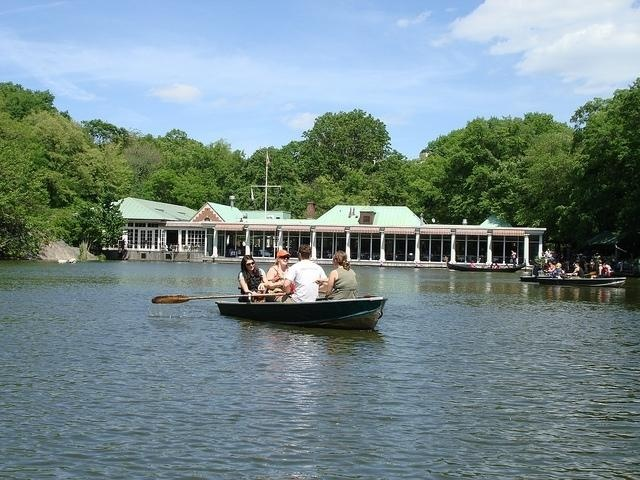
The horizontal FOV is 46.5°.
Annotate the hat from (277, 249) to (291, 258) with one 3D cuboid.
[{"bbox_3d":[-1.124,0.355,22.300,0.317,0.200,0.388,2,-19,-23],"label":"hat"}]

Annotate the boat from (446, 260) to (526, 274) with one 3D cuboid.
[{"bbox_3d":[15.689,2.500,69.252,7.175,0.848,1.293,1,1,-6],"label":"boat"}]

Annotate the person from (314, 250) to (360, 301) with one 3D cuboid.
[{"bbox_3d":[0.593,1.025,21.460,0.866,1.402,1.236,1,2,0],"label":"person"}]

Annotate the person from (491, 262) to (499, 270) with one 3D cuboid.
[{"bbox_3d":[16.120,2.433,68.459,0.657,0.196,0.903,4,12,20],"label":"person"}]
